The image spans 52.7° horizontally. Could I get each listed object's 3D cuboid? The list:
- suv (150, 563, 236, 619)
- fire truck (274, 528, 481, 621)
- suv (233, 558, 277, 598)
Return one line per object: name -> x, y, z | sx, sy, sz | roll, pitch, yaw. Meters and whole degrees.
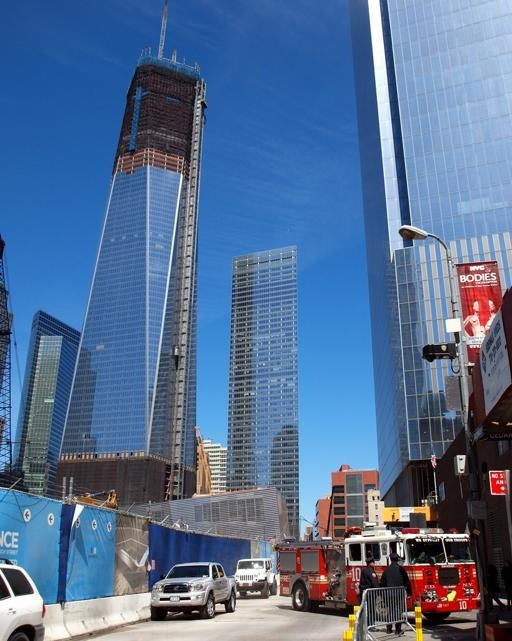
suv -> -2.146, 9.523, 18.045 | 1.717, 1.523, 3.605 | -7, -37, 5
fire truck -> 3.488, 8.315, 16.929 | 2.604, 2.893, 7.031 | 14, -28, -27
suv -> 0.021, 15.944, 31.901 | 2.209, 2.478, 6.139 | -1, -21, 3
